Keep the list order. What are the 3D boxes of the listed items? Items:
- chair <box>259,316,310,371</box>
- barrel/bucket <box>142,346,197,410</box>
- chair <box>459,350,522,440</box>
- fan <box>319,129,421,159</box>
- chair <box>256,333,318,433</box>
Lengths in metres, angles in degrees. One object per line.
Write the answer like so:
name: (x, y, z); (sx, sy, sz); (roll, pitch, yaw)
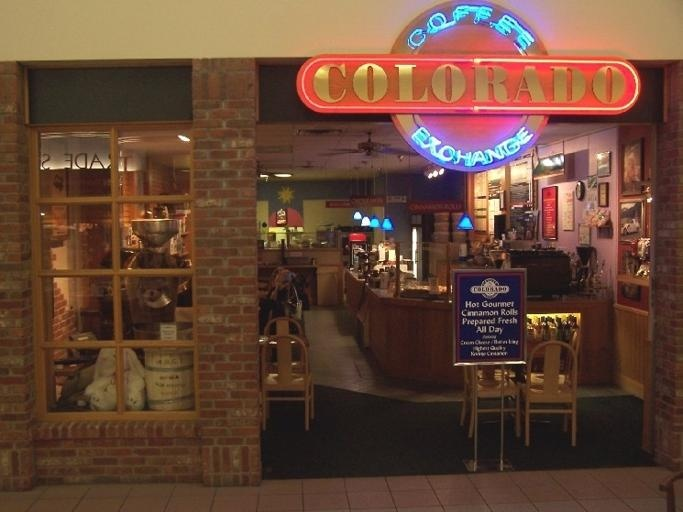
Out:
chair: (-0.735, 1.072, 8.254); (0.781, 0.690, 0.544); (0, -8, -9)
barrel/bucket: (-1.713, 1.208, 6.810); (0.549, 0.583, 0.572); (-1, -5, 0)
chair: (1.708, 1.487, 7.837); (0.671, 0.985, 1.807); (1, 9, 10)
fan: (0.421, -1.944, 11.820); (1.050, 0.244, 1.069); (0, -1, 44)
chair: (-0.646, 1.477, 8.102); (0.656, 1.078, 0.585); (-3, -7, 18)
